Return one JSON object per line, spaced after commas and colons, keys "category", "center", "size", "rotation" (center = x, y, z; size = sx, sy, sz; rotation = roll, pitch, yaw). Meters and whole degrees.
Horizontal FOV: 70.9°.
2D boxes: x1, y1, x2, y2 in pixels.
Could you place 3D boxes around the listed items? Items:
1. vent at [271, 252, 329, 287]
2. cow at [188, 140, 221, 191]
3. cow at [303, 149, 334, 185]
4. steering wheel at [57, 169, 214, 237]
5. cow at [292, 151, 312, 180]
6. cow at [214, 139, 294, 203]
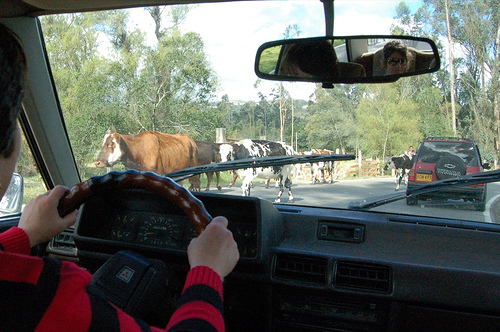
{"category": "vent", "center": [0.429, 0.882, 3.000], "size": [0.481, 0.245, 0.071], "rotation": [2, 4, 13]}
{"category": "cow", "center": [-0.499, -0.001, 4.369], "size": [0.284, 0.534, 0.893], "rotation": [3, 4, -40]}
{"category": "cow", "center": [0.664, 0.001, 3.462], "size": [0.467, 0.357, 0.110], "rotation": [-3, -4, -24]}
{"category": "steering wheel", "center": [-0.576, 0.190, 1.789], "size": [0.786, 0.438, 0.116], "rotation": [14, 36, -15]}
{"category": "cow", "center": [0.510, -0.006, 3.529], "size": [0.092, 0.195, 0.330], "rotation": [-4, -17, 27]}
{"category": "cow", "center": [0.090, 0.066, 3.957], "size": [1.174, 0.705, 0.324], "rotation": [3, -5, -34]}
